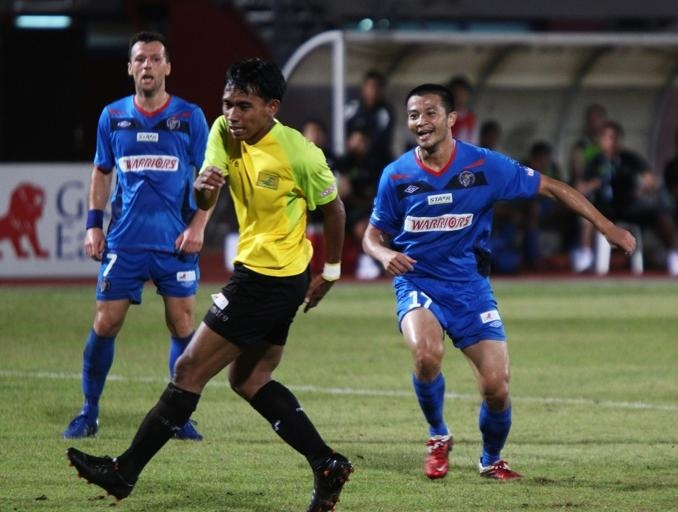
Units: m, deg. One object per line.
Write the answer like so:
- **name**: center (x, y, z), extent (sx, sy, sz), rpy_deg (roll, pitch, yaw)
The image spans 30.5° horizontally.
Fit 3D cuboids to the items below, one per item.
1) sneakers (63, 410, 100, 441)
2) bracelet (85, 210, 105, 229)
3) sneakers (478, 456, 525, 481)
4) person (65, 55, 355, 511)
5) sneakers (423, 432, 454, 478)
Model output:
- **sneakers**: center (-1.977, 1.290, 9.315), extent (0.109, 0.208, 0.399), rpy_deg (0, 3, 23)
- **bracelet**: center (-1.852, -0.279, 9.506), extent (0.140, 0.144, 0.130), rpy_deg (-5, -7, 44)
- **sneakers**: center (1.127, 1.518, 8.782), extent (0.325, 0.165, 0.118), rpy_deg (1, -2, 6)
- **person**: center (-0.696, 0.199, 8.300), extent (1.504, 2.988, 0.767), rpy_deg (-1, 10, -9)
- **sneakers**: center (0.683, 1.442, 8.869), extent (0.119, 0.147, 0.339), rpy_deg (-1, 14, 11)
